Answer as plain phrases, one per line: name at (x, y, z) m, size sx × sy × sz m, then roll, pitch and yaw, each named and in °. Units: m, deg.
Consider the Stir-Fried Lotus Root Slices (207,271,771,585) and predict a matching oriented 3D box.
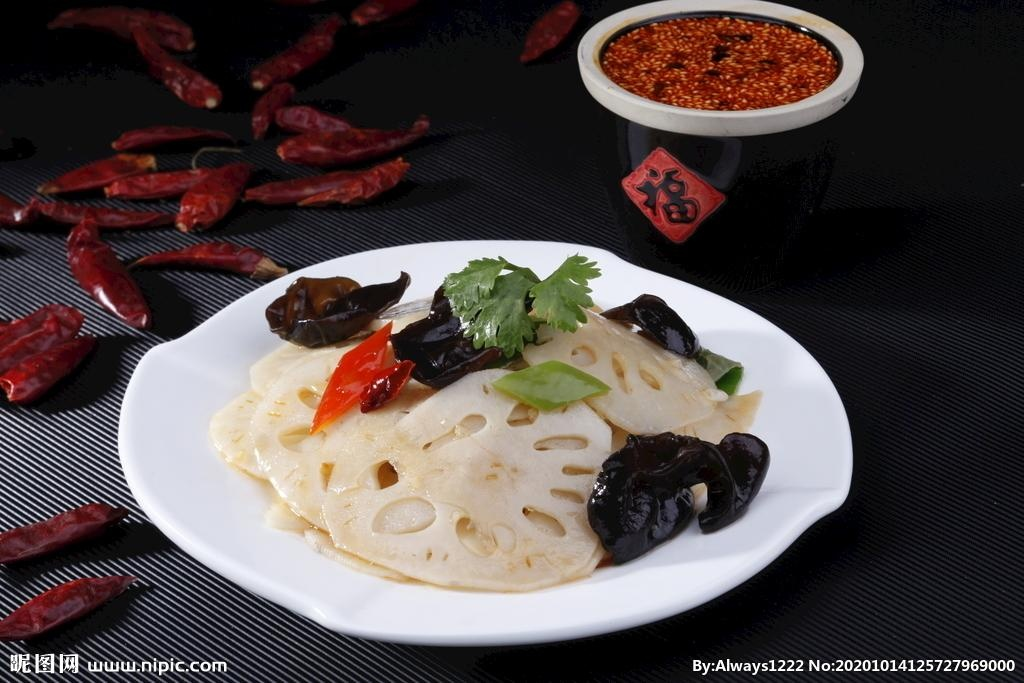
Stir-Fried Lotus Root Slices at (-0.060, 0.207, 1.783) m, size 0.927 × 0.188 × 0.832 m, roll 27°, pitch 43°, yaw 30°
